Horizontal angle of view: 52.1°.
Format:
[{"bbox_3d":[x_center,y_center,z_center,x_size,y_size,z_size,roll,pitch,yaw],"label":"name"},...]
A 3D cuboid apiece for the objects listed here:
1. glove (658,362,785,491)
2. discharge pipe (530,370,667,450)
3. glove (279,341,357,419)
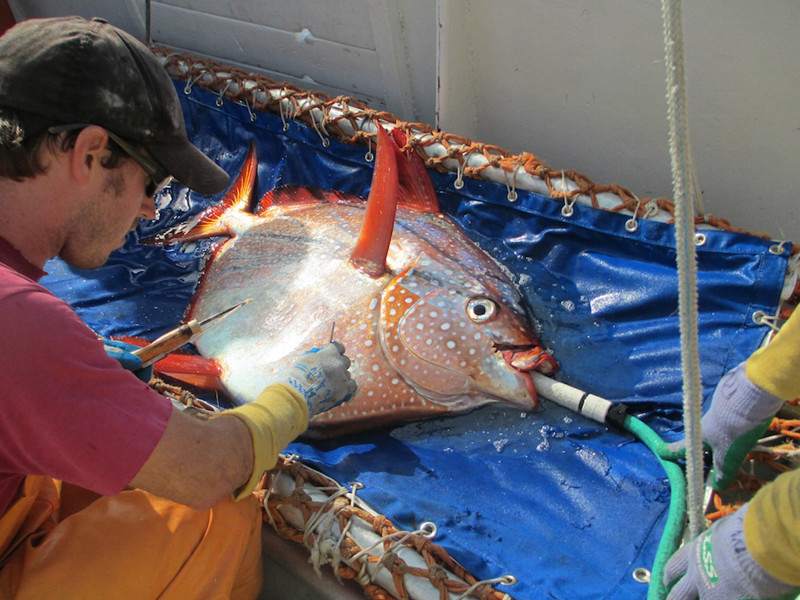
[{"bbox_3d":[1.090,0.403,2.706,0.203,0.359,0.198,-27,49,-20],"label":"glove"},{"bbox_3d":[0.731,0.399,2.933,0.081,0.106,0.608,15,1,-29],"label":"discharge pipe"},{"bbox_3d":[-0.302,0.260,2.837,0.224,0.109,0.370,33,30,3],"label":"glove"}]
